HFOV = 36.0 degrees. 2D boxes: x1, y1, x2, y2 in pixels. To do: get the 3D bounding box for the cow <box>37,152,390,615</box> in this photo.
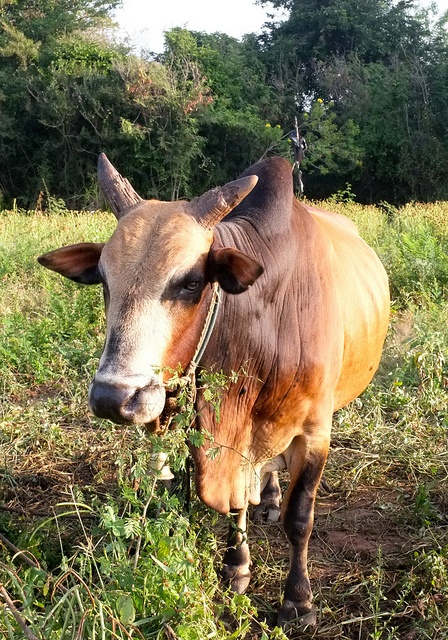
[{"bbox_3d":[0.207,0.281,3.689,1.166,2.008,2.994,0,7,22],"label":"cow"}]
